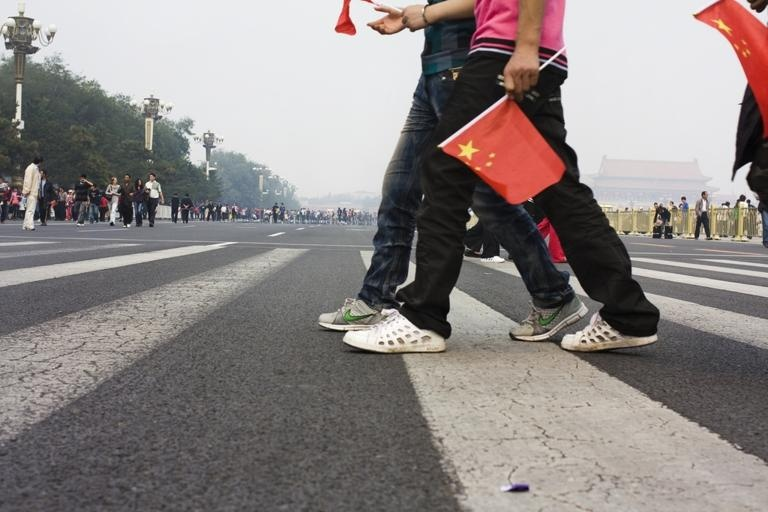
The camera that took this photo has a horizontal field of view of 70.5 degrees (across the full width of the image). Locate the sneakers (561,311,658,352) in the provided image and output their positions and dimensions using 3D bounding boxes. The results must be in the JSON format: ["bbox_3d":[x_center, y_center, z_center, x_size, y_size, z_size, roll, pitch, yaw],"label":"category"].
[{"bbox_3d":[1.165,0.397,2.987,0.568,0.227,0.188,0,1,13],"label":"sneakers"}]

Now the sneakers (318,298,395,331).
[{"bbox_3d":[-0.186,0.354,3.295,0.532,0.208,0.181,1,-7,1],"label":"sneakers"}]

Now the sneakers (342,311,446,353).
[{"bbox_3d":[0.046,0.400,2.923,0.587,0.233,0.200,3,-7,-3],"label":"sneakers"}]

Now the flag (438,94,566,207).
[{"bbox_3d":[0.585,-0.541,2.724,0.679,0.509,0.109,35,0,-11],"label":"flag"}]

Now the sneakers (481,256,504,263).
[{"bbox_3d":[1.772,0.043,8.929,0.376,0.138,0.134,-1,2,3],"label":"sneakers"}]
